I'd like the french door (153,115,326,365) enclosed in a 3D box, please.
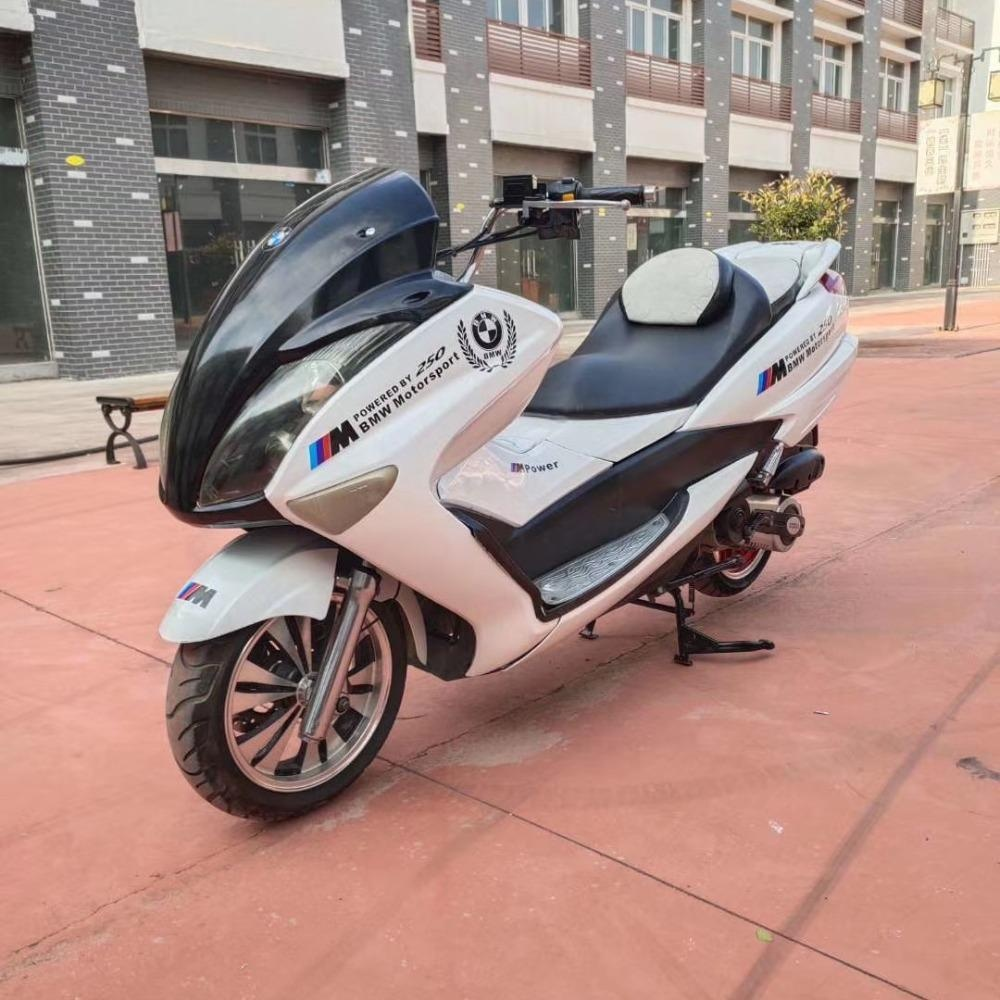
[{"bbox_3d":[-4.858,-5.190,15.605,3.784,2.918,0.092,10,10,34],"label":"french door"}]

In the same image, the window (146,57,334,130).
[{"bbox_3d":[-4.579,-7.188,15.644,3.239,0.578,0.060,6,34,-3],"label":"window"}]

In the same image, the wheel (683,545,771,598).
[{"bbox_3d":[0.961,0.280,3.721,0.361,0.089,0.323,-14,17,-31],"label":"wheel"}]

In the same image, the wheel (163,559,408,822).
[{"bbox_3d":[-0.507,0.490,2.361,0.222,0.621,0.730,25,33,38],"label":"wheel"}]
